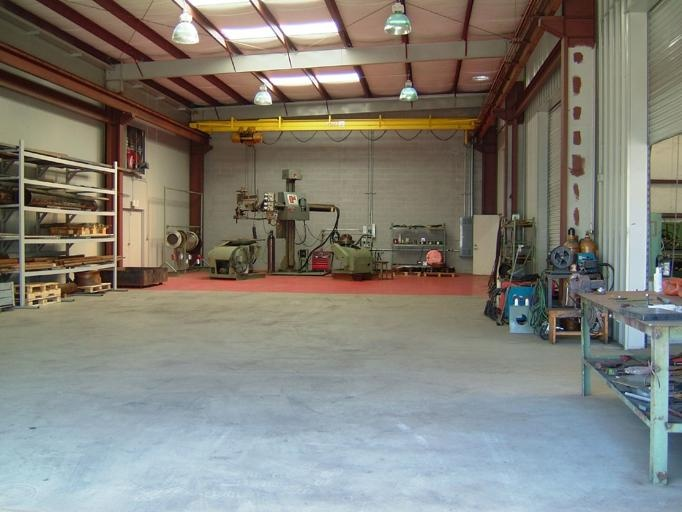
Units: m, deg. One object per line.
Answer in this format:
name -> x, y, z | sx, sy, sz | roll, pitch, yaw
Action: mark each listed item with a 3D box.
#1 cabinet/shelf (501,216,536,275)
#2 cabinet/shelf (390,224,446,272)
cabinet/shelf -> 3.790, -0.229, 10.666 | 0.480, 1.284, 1.393 | 1, 1, 10
cabinet/shelf -> 2.398, -0.248, 15.311 | 1.560, 1.379, 0.600 | 1, 2, 4
